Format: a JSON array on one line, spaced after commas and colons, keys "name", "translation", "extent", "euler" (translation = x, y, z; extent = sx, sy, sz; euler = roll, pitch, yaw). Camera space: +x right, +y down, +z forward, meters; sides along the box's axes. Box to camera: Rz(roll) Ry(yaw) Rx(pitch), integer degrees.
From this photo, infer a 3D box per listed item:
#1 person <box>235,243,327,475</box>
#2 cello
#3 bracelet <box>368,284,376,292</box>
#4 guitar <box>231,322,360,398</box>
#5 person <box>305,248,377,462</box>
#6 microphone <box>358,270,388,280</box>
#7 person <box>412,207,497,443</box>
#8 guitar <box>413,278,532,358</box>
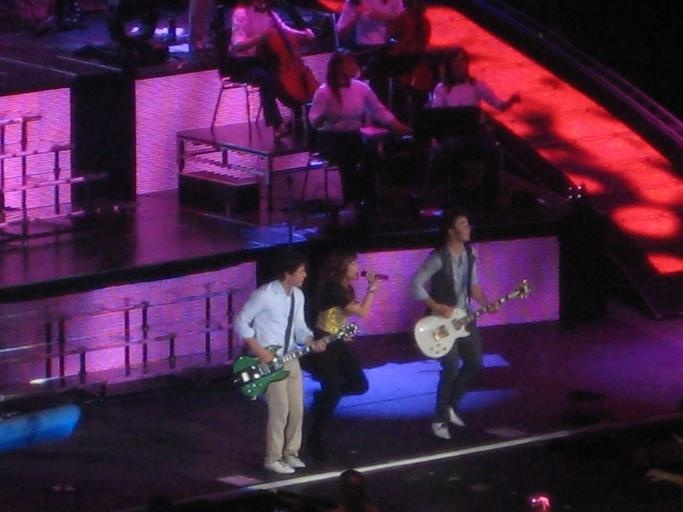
[{"name": "person", "translation": [-0.555, 0.941, 10.125], "extent": [0.952, 1.862, 0.686], "euler": [3, -3, -20]}, {"name": "cello", "translation": [-0.585, -2.220, 12.828], "extent": [0.442, 1.029, 0.697], "euler": [3, 5, 26]}, {"name": "bracelet", "translation": [0.285, 0.295, 10.756], "extent": [0.025, 0.071, 0.091], "euler": [10, -6, -13]}, {"name": "guitar", "translation": [-0.461, 0.942, 10.133], "extent": [0.969, 0.591, 0.504], "euler": [-2, 5, -42]}, {"name": "person", "translation": [-0.015, 0.887, 10.600], "extent": [0.861, 1.717, 0.838], "euler": [-9, 26, -31]}, {"name": "microphone", "translation": [0.313, 0.177, 11.343], "extent": [0.387, 0.087, 0.087], "euler": [4, 23, -9]}, {"name": "person", "translation": [1.143, 0.653, 10.773], "extent": [1.089, 2.006, 0.742], "euler": [-2, -2, 27]}, {"name": "guitar", "translation": [1.255, 0.653, 11.040], "extent": [1.233, 0.706, 0.890], "euler": [-4, 16, 7]}]
